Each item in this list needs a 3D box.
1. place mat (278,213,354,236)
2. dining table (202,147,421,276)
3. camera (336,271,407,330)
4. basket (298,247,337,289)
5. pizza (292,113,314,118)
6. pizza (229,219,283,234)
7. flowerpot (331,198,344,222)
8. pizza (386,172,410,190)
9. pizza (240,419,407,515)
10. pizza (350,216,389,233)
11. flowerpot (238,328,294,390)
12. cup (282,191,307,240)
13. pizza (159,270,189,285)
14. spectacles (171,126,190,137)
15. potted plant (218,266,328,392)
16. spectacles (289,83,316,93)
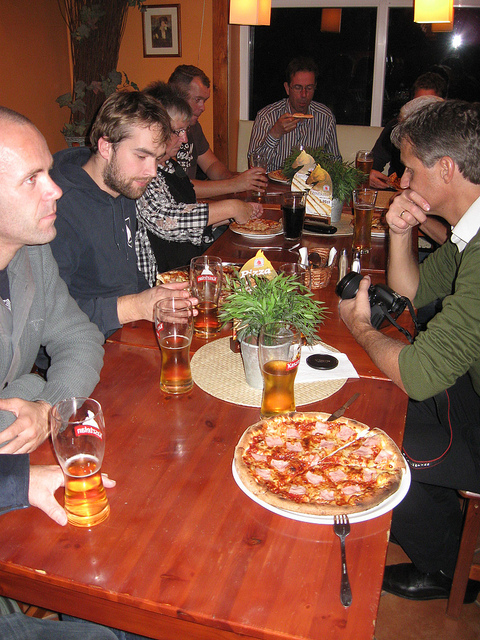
[{"bbox_3d":[0.368,-0.470,2.361,0.310,0.073,0.276,-3,19,-5],"label":"place mat"},{"bbox_3d":[0.348,-0.672,2.690,1.055,0.382,1.370,7,13,19],"label":"dining table"},{"bbox_3d":[0.433,-0.047,1.531,0.222,0.137,0.235,4,18,-44],"label":"camera"},{"bbox_3d":[0.297,-0.174,1.803,0.131,0.163,0.159,4,22,7],"label":"basket"},{"bbox_3d":[0.512,-1.692,3.939,0.134,0.046,0.472,3,21,9],"label":"pizza"},{"bbox_3d":[0.091,-0.467,2.389,0.251,0.032,0.268,18,28,39],"label":"pizza"},{"bbox_3d":[0.496,-0.569,2.493,0.083,0.091,0.089,-10,27,-16],"label":"flowerpot"},{"bbox_3d":[1.063,-0.977,3.347,0.086,0.092,0.259,6,22,15],"label":"pizza"},{"bbox_3d":[0.141,0.246,0.814,0.166,0.030,0.147,4,23,8],"label":"pizza"},{"bbox_3d":[0.699,-0.487,2.438,0.154,0.023,0.159,-3,34,8],"label":"pizza"},{"bbox_3d":[0.075,0.084,1.058,0.111,0.146,0.111,-14,24,-38],"label":"flowerpot"},{"bbox_3d":[0.245,-0.477,2.214,0.101,0.220,0.126,2,21,7],"label":"cup"},{"bbox_3d":[-0.230,-0.151,1.674,0.061,0.025,0.076,-5,17,2],"label":"pizza"},{"bbox_3d":[-0.326,-1.016,2.597,0.027,0.038,0.116,9,23,24],"label":"spectacles"},{"bbox_3d":[0.080,0.040,1.102,0.245,0.263,0.222,0,-13,-4],"label":"potted plant"},{"bbox_3d":[0.516,-1.936,3.995,0.201,0.065,0.109,3,21,8],"label":"spectacles"}]
